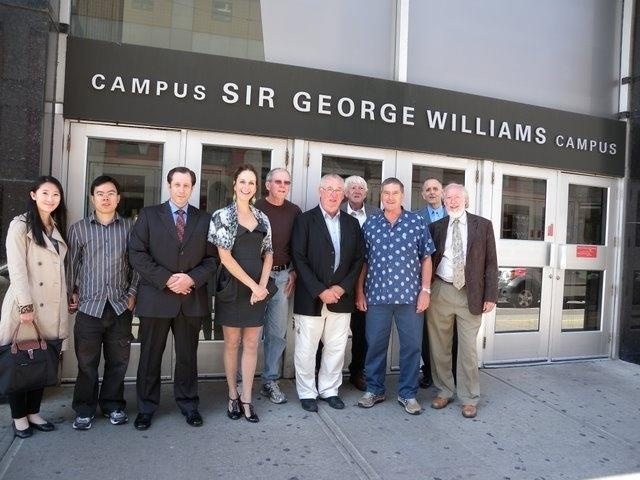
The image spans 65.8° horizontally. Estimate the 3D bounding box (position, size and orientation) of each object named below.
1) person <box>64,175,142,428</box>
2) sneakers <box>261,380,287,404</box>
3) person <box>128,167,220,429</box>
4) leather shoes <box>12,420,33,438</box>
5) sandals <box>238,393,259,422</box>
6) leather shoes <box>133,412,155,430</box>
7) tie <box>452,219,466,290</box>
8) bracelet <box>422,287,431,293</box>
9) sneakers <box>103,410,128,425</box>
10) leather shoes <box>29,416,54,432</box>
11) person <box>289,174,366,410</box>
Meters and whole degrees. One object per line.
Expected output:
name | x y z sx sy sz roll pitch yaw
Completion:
person | -1.732 0.493 3.987 0.510 1.970 0.408 -1 8 -28
sneakers | -0.434 1.431 4.663 0.110 0.141 0.297 1 -1 -32
person | -1.175 0.465 4.030 0.688 2.072 0.449 0 8 -22
leather shoes | -2.264 1.440 3.765 0.177 0.101 0.096 4 8 3
sandals | -0.599 1.451 4.240 0.094 0.099 0.244 4 26 -41
leather shoes | -1.401 1.451 3.986 0.166 0.100 0.148 -3 10 -37
tie | 1.259 0.129 4.553 0.105 0.636 0.165 2 7 -6
bracelet | 0.979 0.471 4.571 0.067 0.040 0.067 12 -5 4
sneakers | -1.667 1.445 4.053 0.202 0.099 0.086 -4 -9 38
leather shoes | -2.158 1.436 3.875 0.222 0.096 0.081 0 -1 33
person | 0.073 0.466 4.505 0.676 2.084 0.476 2 7 -10
